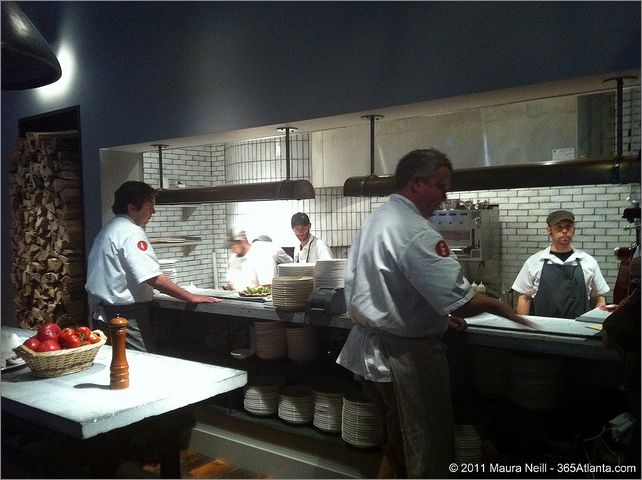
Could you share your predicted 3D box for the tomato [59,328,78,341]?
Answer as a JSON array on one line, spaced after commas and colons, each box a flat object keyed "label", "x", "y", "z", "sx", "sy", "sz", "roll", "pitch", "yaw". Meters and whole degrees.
[{"label": "tomato", "x": -1.455, "y": 0.538, "z": 2.736, "sx": 0.059, "sy": 0.060, "sz": 0.060, "roll": 48, "pitch": -7, "yaw": -30}]

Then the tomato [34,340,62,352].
[{"label": "tomato", "x": -1.515, "y": 0.579, "z": 2.632, "sx": 0.072, "sy": 0.071, "sz": 0.067, "roll": 18, "pitch": -4, "yaw": -2}]

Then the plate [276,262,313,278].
[{"label": "plate", "x": -0.212, "y": 0.240, "z": 3.749, "sx": 0.300, "sy": 0.093, "sz": 0.309, "roll": 2, "pitch": 7, "yaw": 35}]

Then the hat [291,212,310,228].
[{"label": "hat", "x": -0.256, "y": -0.240, "z": 5.660, "sx": 0.146, "sy": 0.123, "sz": 0.204, "roll": 0, "pitch": -1, "yaw": 5}]

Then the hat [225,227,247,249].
[{"label": "hat", "x": -1.029, "y": -0.031, "z": 5.527, "sx": 0.247, "sy": 0.141, "sz": 0.175, "roll": -18, "pitch": 14, "yaw": -31}]

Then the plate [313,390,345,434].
[{"label": "plate", "x": 0.050, "y": 1.308, "z": 3.648, "sx": 0.257, "sy": 0.236, "sz": 0.289, "roll": 1, "pitch": -10, "yaw": 1}]

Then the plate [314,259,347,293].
[{"label": "plate", "x": 0.060, "y": 0.253, "z": 3.460, "sx": 0.219, "sy": 0.150, "sz": 0.217, "roll": 0, "pitch": -3, "yaw": 1}]

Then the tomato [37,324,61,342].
[{"label": "tomato", "x": -1.580, "y": 0.529, "z": 2.776, "sx": 0.110, "sy": 0.107, "sz": 0.107, "roll": 23, "pitch": -26, "yaw": -34}]

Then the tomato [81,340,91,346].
[{"label": "tomato", "x": -1.362, "y": 0.595, "z": 2.753, "sx": 0.024, "sy": 0.024, "sz": 0.029, "roll": -30, "pitch": -19, "yaw": 1}]

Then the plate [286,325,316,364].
[{"label": "plate", "x": -0.127, "y": 0.846, "z": 3.962, "sx": 0.287, "sy": 0.306, "sz": 0.288, "roll": -1, "pitch": -2, "yaw": 6}]

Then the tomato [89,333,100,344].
[{"label": "tomato", "x": -1.337, "y": 0.578, "z": 2.806, "sx": 0.054, "sy": 0.056, "sz": 0.050, "roll": 3, "pitch": -6, "yaw": -26}]

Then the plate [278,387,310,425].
[{"label": "plate", "x": -0.203, "y": 1.304, "z": 3.783, "sx": 0.244, "sy": 0.146, "sz": 0.241, "roll": 1, "pitch": -5, "yaw": -1}]

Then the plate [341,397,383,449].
[{"label": "plate", "x": 0.269, "y": 1.288, "z": 3.339, "sx": 0.304, "sy": 0.251, "sz": 0.316, "roll": 1, "pitch": -5, "yaw": 0}]

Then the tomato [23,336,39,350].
[{"label": "tomato", "x": -1.597, "y": 0.569, "z": 2.656, "sx": 0.068, "sy": 0.078, "sz": 0.067, "roll": -1, "pitch": -13, "yaw": -1}]

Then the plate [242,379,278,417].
[{"label": "plate", "x": -0.468, "y": 1.293, "z": 3.963, "sx": 0.283, "sy": 0.262, "sz": 0.261, "roll": 0, "pitch": 6, "yaw": 25}]

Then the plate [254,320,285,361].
[{"label": "plate", "x": -0.425, "y": 0.819, "z": 3.967, "sx": 0.305, "sy": 0.319, "sz": 0.298, "roll": 6, "pitch": -8, "yaw": -42}]

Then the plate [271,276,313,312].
[{"label": "plate", "x": -0.236, "y": 0.390, "z": 3.563, "sx": 0.272, "sy": 0.196, "sz": 0.270, "roll": 1, "pitch": -2, "yaw": 6}]

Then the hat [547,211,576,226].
[{"label": "hat", "x": 2.320, "y": -0.212, "z": 4.630, "sx": 0.217, "sy": 0.165, "sz": 0.163, "roll": 0, "pitch": 6, "yaw": 22}]
